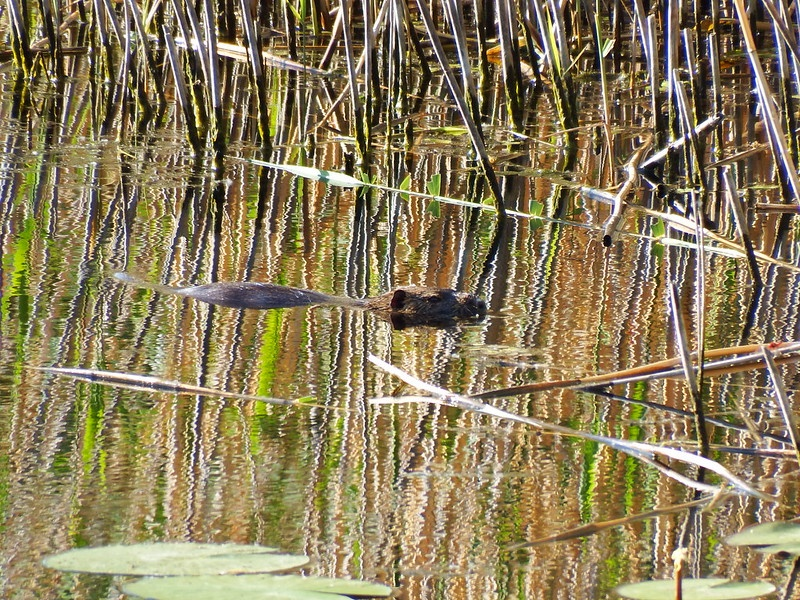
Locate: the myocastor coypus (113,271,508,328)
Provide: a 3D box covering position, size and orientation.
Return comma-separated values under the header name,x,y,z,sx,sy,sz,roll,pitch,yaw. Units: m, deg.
name,x,y,z,sx,sy,sz,roll,pitch,yaw
myocastor coypus,-0.567,0.011,5.441,1.906,0.141,0.308,2,13,-1
